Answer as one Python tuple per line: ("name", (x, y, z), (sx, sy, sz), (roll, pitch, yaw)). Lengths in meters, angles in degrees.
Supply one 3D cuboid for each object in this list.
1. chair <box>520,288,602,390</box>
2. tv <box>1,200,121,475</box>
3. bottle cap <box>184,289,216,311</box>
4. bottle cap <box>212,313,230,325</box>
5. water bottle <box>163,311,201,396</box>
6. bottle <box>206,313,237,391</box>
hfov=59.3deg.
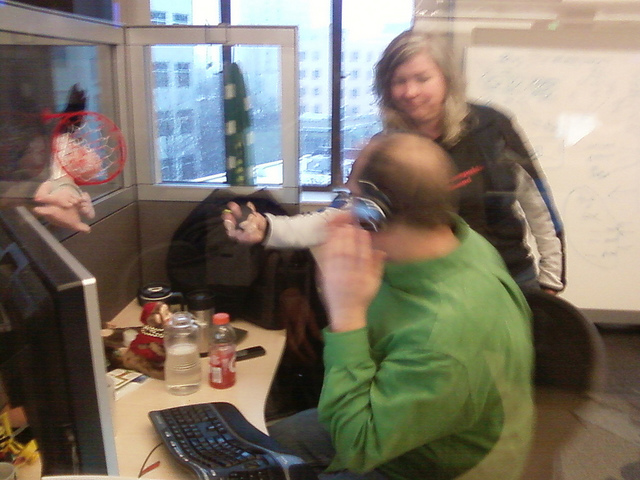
("chair", (0.349, 0.167, 0.964), (0.212, 0.104, 0.208), (0, 5, 9))
("tv", (-0.500, 0.188, 1.005), (0.143, 0.472, 0.293), (-14, 21, -32))
("bottle cap", (-0.262, 0.128, 1.229), (0.079, 0.032, 0.065), (-3, 8, -29))
("bottle cap", (-0.203, 0.160, 1.140), (0.042, 0.011, 0.031), (0, 2, 6))
("water bottle", (-0.298, 0.240, 1.209), (0.085, 0.157, 0.126), (-5, 16, -11))
("bottle", (-0.216, 0.224, 1.205), (0.065, 0.168, 0.127), (-4, 16, -9))
